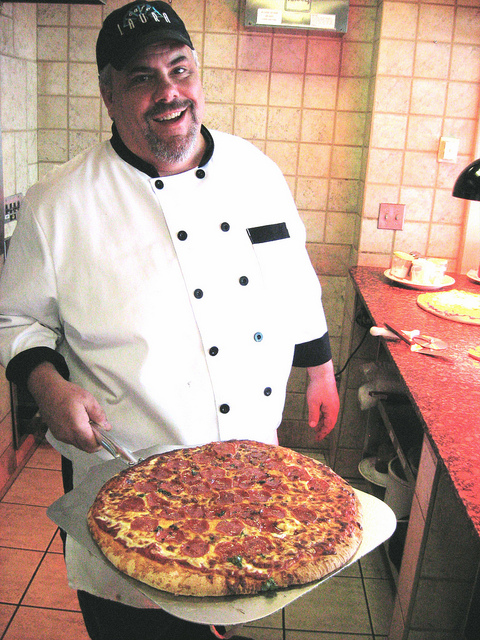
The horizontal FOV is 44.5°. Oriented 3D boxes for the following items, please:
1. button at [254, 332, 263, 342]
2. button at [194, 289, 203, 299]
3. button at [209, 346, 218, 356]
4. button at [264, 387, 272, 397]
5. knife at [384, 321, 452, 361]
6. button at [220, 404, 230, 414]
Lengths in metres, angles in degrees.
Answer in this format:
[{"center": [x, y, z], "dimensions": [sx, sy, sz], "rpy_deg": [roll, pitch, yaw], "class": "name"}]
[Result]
[{"center": [0.039, 0.035, 1.237], "dimensions": [0.004, 0.017, 0.018], "rpy_deg": [5, 8, 44], "class": "button"}, {"center": [-0.084, -0.053, 1.181], "dimensions": [0.021, 0.019, 0.005], "rpy_deg": [-2, -1, -17], "class": "button"}, {"center": [-0.052, 0.062, 1.176], "dimensions": [0.018, 0.016, 0.004], "rpy_deg": [1, -1, -24], "class": "button"}, {"center": [0.063, 0.155, 1.266], "dimensions": [0.015, 0.017, 0.005], "rpy_deg": [-5, 13, -22], "class": "button"}, {"center": [0.474, 0.052, 1.664], "dimensions": [0.030, 0.039, 0.240], "rpy_deg": [44, 1, -37], "class": "knife"}, {"center": [-0.031, 0.182, 1.204], "dimensions": [0.019, 0.018, 0.014], "rpy_deg": [7, -5, -18], "class": "button"}]
